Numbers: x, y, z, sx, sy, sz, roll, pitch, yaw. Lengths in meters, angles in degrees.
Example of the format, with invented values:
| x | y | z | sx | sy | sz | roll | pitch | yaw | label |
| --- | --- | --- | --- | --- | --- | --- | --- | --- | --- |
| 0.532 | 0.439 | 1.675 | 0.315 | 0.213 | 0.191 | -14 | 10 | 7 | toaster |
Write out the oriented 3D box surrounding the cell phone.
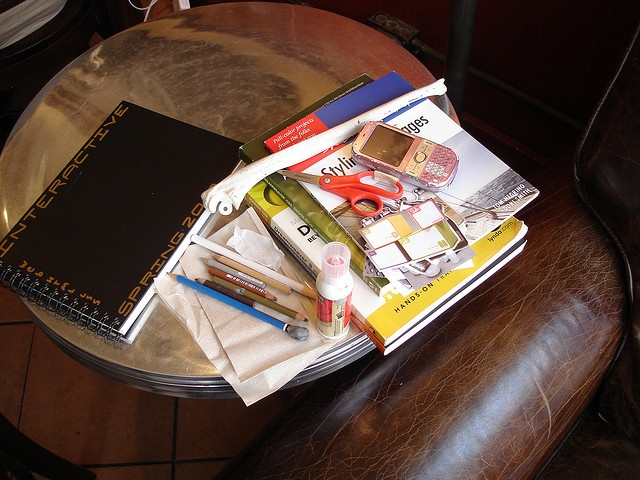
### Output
| x | y | z | sx | sy | sz | roll | pitch | yaw | label |
| --- | --- | --- | --- | --- | --- | --- | --- | --- | --- |
| 0.138 | -0.141 | 0.854 | 0.179 | 0.030 | 0.094 | 20 | 66 | 13 | cell phone |

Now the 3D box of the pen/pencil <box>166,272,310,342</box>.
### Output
| x | y | z | sx | sy | sz | roll | pitch | yaw | label |
| --- | --- | --- | --- | --- | --- | --- | --- | --- | --- |
| -0.130 | 0.112 | 0.803 | 0.192 | 0.024 | 0.023 | 26 | 107 | 4 | pen/pencil |

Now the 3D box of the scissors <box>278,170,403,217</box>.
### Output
| x | y | z | sx | sy | sz | roll | pitch | yaw | label |
| --- | --- | --- | --- | --- | --- | --- | --- | --- | --- |
| 0.062 | -0.088 | 0.836 | 0.149 | 0.021 | 0.078 | 18 | 57 | 16 | scissors |

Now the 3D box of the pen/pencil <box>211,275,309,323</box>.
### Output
| x | y | z | sx | sy | sz | roll | pitch | yaw | label |
| --- | --- | --- | --- | --- | --- | --- | --- | --- | --- |
| -0.100 | 0.098 | 0.807 | 0.140 | 0.012 | 0.011 | 25 | 117 | 8 | pen/pencil |

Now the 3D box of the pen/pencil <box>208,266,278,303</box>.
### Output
| x | y | z | sx | sy | sz | roll | pitch | yaw | label |
| --- | --- | --- | --- | --- | --- | --- | --- | --- | --- |
| -0.126 | 0.075 | 0.815 | 0.100 | 0.010 | 0.010 | 28 | 112 | 9 | pen/pencil |

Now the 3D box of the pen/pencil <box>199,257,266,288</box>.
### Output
| x | y | z | sx | sy | sz | roll | pitch | yaw | label |
| --- | --- | --- | --- | --- | --- | --- | --- | --- | --- |
| -0.144 | 0.056 | 0.824 | 0.095 | 0.011 | 0.010 | 24 | 109 | 8 | pen/pencil |

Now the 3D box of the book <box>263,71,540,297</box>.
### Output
| x | y | z | sx | sy | sz | roll | pitch | yaw | label |
| --- | --- | --- | --- | --- | --- | --- | --- | --- | --- |
| 0.155 | -0.115 | 0.898 | 0.376 | 0.061 | 0.419 | -35 | 66 | -12 | book |

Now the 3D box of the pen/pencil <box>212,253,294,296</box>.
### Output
| x | y | z | sx | sy | sz | roll | pitch | yaw | label |
| --- | --- | --- | --- | --- | --- | --- | --- | --- | --- |
| -0.114 | 0.059 | 0.823 | 0.128 | 0.014 | 0.013 | 25 | 101 | 8 | pen/pencil |

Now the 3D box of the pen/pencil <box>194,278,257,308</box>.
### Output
| x | y | z | sx | sy | sz | roll | pitch | yaw | label |
| --- | --- | --- | --- | --- | --- | --- | --- | --- | --- |
| -0.151 | 0.088 | 0.811 | 0.082 | 0.009 | 0.010 | 27 | 69 | 10 | pen/pencil |

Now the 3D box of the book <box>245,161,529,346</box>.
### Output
| x | y | z | sx | sy | sz | roll | pitch | yaw | label |
| --- | --- | --- | --- | --- | --- | --- | --- | --- | --- |
| 0.166 | 0.055 | 0.811 | 0.292 | 0.053 | 0.312 | -35 | 71 | -19 | book |

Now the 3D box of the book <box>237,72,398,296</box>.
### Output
| x | y | z | sx | sy | sz | roll | pitch | yaw | label |
| --- | --- | --- | --- | --- | --- | --- | --- | --- | --- |
| -0.014 | -0.070 | 0.875 | 0.300 | 0.034 | 0.328 | -34 | 78 | -17 | book |

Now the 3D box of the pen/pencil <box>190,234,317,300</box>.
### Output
| x | y | z | sx | sy | sz | roll | pitch | yaw | label |
| --- | --- | --- | --- | --- | --- | --- | --- | --- | --- |
| -0.107 | 0.048 | 0.827 | 0.176 | 0.020 | 0.014 | 30 | 49 | 10 | pen/pencil |
